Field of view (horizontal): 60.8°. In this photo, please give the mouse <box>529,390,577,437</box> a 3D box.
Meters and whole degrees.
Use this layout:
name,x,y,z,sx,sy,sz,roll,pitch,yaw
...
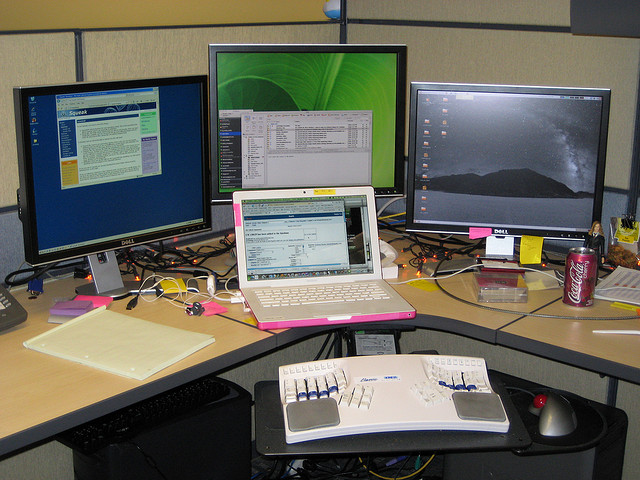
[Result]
name,x,y,z,sx,sy,sz,roll,pitch,yaw
mouse,0.624,0.465,1.471,0.087,0.043,0.122,-13,15,-14

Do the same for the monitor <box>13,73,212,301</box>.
name,x,y,z,sx,sy,sz,roll,pitch,yaw
monitor,-0.579,-0.209,1.529,0.100,0.636,0.637,23,28,36

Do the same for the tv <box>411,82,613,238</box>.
name,x,y,z,sx,sy,sz,roll,pitch,yaw
tv,0.602,-0.259,1.703,0.504,0.376,0.035,3,11,10

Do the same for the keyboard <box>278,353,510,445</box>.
name,x,y,z,sx,sy,sz,roll,pitch,yaw
keyboard,0.155,0.350,1.232,0.484,0.101,0.204,-2,15,-4

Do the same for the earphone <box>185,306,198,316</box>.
name,x,y,z,sx,sy,sz,roll,pitch,yaw
earphone,-0.350,0.196,1.511,0.022,0.012,0.029,-20,34,-26

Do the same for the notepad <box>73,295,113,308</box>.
name,x,y,z,sx,sy,sz,roll,pitch,yaw
notepad,-0.635,0.168,1.548,0.050,0.011,0.048,9,16,13

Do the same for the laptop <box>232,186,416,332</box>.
name,x,y,z,sx,sy,sz,roll,pitch,yaw
laptop,-0.001,-0.057,1.500,0.502,0.304,0.416,-4,20,-18

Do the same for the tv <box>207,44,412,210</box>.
name,x,y,z,sx,sy,sz,roll,pitch,yaw
tv,-0.060,-0.382,1.784,0.609,0.458,0.026,-2,19,-11

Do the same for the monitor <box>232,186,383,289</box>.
name,x,y,z,sx,sy,sz,roll,pitch,yaw
monitor,-0.052,-0.012,1.640,0.432,0.250,0.321,-3,17,-10
